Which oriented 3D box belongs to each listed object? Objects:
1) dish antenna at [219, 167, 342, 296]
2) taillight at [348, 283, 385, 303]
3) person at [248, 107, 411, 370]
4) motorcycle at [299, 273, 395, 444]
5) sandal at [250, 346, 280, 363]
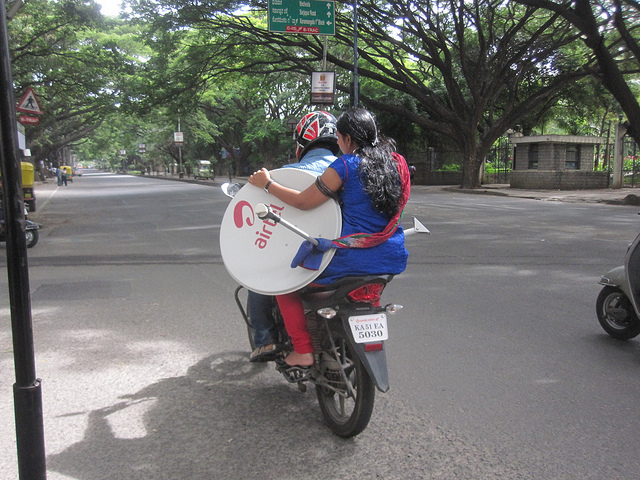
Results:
[{"bbox_3d":[-0.309,-0.004,3.343,0.798,0.829,0.163,33,9,30],"label":"dish antenna"},{"bbox_3d":[0.307,0.344,3.274,0.273,0.151,0.077,-6,11,-33],"label":"taillight"},{"bbox_3d":[0.140,0.033,3.399,0.897,1.788,0.443,1,9,7],"label":"person"},{"bbox_3d":[0.189,0.710,3.326,0.570,0.741,1.075,-3,5,-20],"label":"motorcycle"},{"bbox_3d":[-0.401,0.830,3.774,0.239,0.083,0.089,-24,-51,40],"label":"sandal"}]
